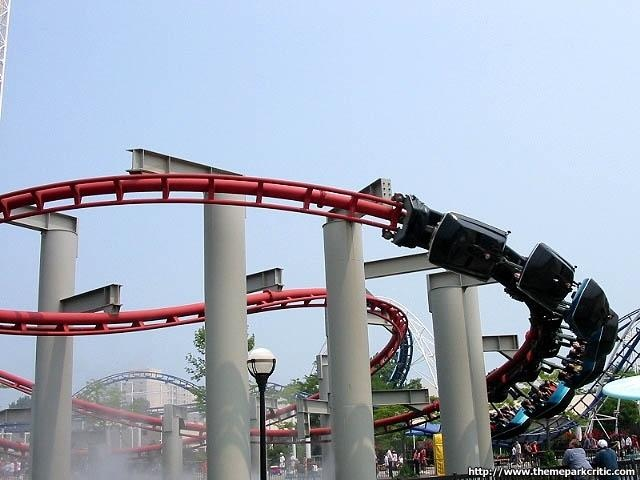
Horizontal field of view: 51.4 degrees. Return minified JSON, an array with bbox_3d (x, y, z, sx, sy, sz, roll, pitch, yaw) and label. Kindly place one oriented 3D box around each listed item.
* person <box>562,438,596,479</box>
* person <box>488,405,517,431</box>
[{"bbox_3d":[6.307,5.395,16.446,0.610,0.963,0.756,-10,-23,17],"label":"person"},{"bbox_3d":[8.506,8.271,31.003,0.828,1.134,1.635,12,-27,-34],"label":"person"}]
